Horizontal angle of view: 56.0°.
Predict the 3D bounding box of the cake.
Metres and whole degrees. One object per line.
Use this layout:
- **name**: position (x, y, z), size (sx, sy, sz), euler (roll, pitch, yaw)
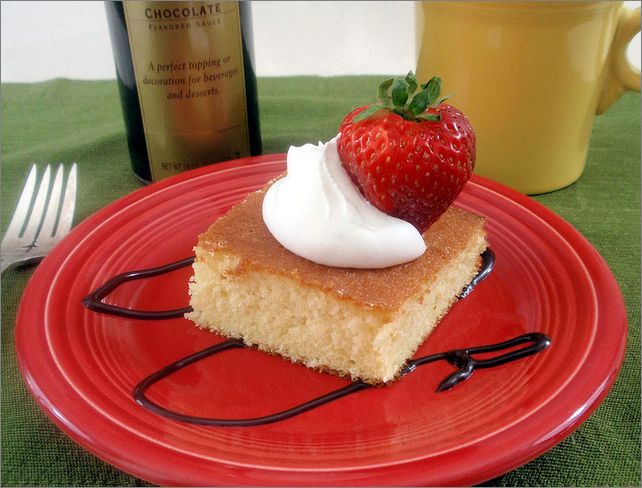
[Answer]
- **cake**: position (0.075, -0.002, 1.710), size (0.605, 0.456, 0.703), euler (8, 26, 28)
